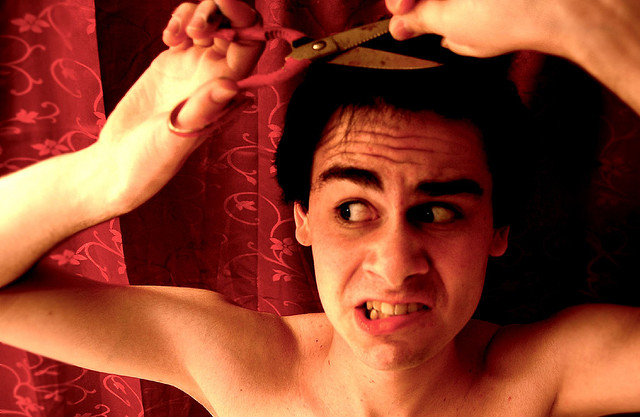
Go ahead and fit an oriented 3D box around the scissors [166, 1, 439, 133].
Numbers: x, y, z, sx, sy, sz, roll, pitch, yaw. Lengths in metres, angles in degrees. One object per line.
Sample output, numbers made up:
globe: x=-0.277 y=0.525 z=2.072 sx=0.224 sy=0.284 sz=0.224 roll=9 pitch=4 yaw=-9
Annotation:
scissors: x=-0.066 y=-0.306 z=1.658 sx=0.661 sy=0.373 sz=0.123 roll=-4 pitch=-25 yaw=18
